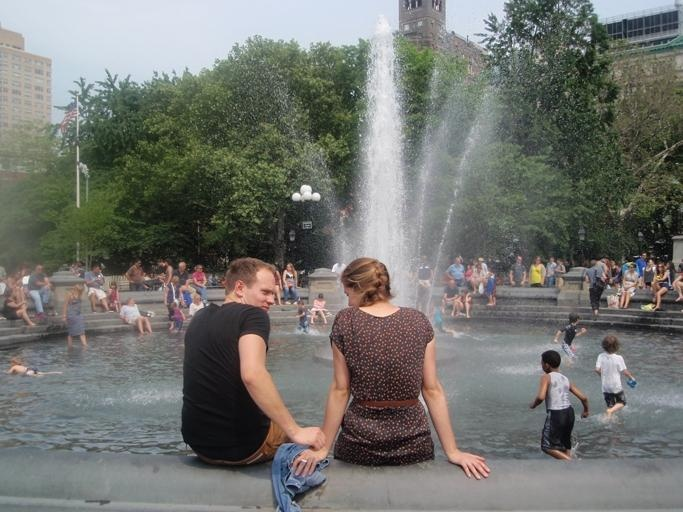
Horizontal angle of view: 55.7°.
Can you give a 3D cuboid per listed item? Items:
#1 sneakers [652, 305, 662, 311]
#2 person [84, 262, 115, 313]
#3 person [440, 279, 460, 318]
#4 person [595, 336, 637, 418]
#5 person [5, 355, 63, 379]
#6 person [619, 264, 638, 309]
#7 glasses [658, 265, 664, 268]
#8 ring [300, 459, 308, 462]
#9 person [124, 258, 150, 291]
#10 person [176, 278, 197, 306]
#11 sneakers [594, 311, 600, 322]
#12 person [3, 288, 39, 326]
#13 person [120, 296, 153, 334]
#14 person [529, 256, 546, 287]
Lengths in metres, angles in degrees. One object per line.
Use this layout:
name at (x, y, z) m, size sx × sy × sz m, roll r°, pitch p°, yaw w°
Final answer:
sneakers at (10.313, 1.690, 21.058) m, size 0.143 × 0.177 × 0.417 m, roll 2°, pitch 4°, yaw 13°
person at (-8.369, 1.086, 22.144) m, size 0.738 × 1.488 × 2.107 m, roll -1°, pitch 2°, yaw -21°
person at (4.250, 1.592, 24.827) m, size 0.822 × 1.282 × 0.929 m, roll -6°, pitch 11°, yaw -17°
person at (4.463, 2.025, 10.446) m, size 0.698 × 1.439 × 0.663 m, roll -2°, pitch 6°, yaw 2°
person at (-6.579, 2.319, 13.281) m, size 1.135 × 0.357 × 0.557 m, roll 6°, pitch 0°, yaw 21°
person at (10.237, 1.027, 22.930) m, size 0.548 × 1.506 × 2.156 m, roll 1°, pitch 2°, yaw 24°
glasses at (11.861, 0.373, 23.857) m, size 0.184 × 0.127 × 0.253 m, roll 0°, pitch 2°, yaw 17°
ring at (-0.303, 1.668, 5.268) m, size 0.024 × 0.030 × 0.033 m, roll 4°, pitch 0°, yaw 20°
person at (-8.821, 0.848, 27.993) m, size 0.681 × 1.305 × 1.208 m, roll -1°, pitch 2°, yaw -24°
person at (-5.222, 1.304, 21.840) m, size 0.711 × 0.930 × 0.403 m, roll 0°, pitch 15°, yaw 3°
sneakers at (8.714, 2.095, 21.893) m, size 0.167 × 0.442 × 0.191 m, roll 2°, pitch -2°, yaw -8°
person at (-9.194, 1.453, 18.367) m, size 0.831 × 1.094 × 0.538 m, roll -1°, pitch 2°, yaw -19°
person at (-6.465, 1.861, 20.415) m, size 0.720 × 1.080 × 1.523 m, roll -2°, pitch 2°, yaw -40°
person at (9.747, 0.780, 31.830) m, size 0.681 × 1.473 × 1.903 m, roll 1°, pitch 2°, yaw 18°
